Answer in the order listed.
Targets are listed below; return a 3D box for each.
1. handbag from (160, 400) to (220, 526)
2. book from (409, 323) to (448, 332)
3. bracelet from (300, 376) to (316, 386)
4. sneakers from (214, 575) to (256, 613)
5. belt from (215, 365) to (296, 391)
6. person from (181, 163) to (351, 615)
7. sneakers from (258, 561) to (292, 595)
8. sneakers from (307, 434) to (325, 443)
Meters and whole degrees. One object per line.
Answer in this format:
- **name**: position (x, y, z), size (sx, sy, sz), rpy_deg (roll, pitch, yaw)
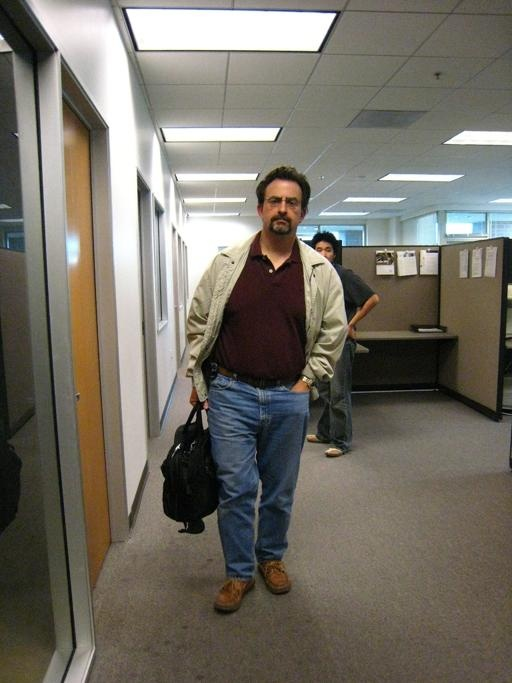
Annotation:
- **handbag**: position (-0.196, 0.406, 1.665), size (0.179, 0.407, 0.315), rpy_deg (6, 6, 13)
- **book**: position (1.656, -0.120, 4.633), size (0.326, 0.068, 0.367), rpy_deg (-1, 6, 8)
- **bracelet**: position (0.171, 0.134, 1.609), size (0.036, 0.018, 0.028), rpy_deg (38, 9, 26)
- **sneakers**: position (-0.075, 0.851, 1.624), size (0.064, 0.086, 0.172), rpy_deg (-1, -10, 16)
- **belt**: position (-0.008, 0.121, 1.593), size (0.273, 0.071, 0.063), rpy_deg (-1, 5, 3)
- **person**: position (0.040, 0.152, 1.657), size (0.536, 1.447, 0.362), rpy_deg (2, 1, 0)
- **sneakers**: position (0.078, 0.843, 1.710), size (0.053, 0.058, 0.141), rpy_deg (1, -9, -8)
- **sneakers**: position (0.422, 0.688, 3.392), size (0.113, 0.054, 0.046), rpy_deg (-4, -8, 23)
